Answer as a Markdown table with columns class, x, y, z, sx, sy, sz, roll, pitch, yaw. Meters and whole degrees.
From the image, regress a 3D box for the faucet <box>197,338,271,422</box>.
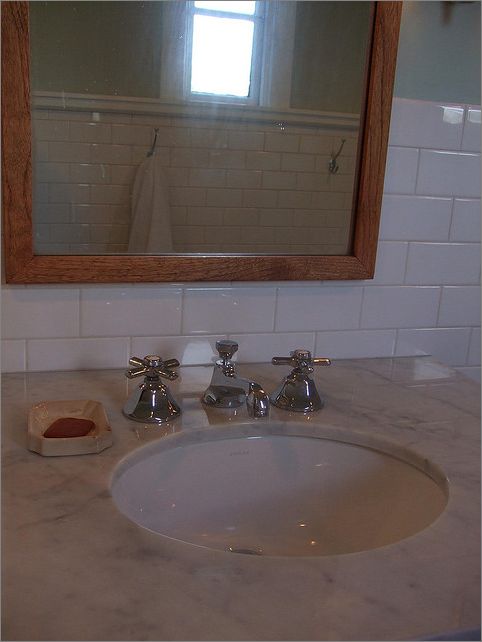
| class | x | y | z | sx | sy | sz | roll | pitch | yaw |
| --- | --- | --- | --- | --- | --- | --- | --- | --- | --- |
| faucet | 0.000 | 0.092 | 0.853 | 0.065 | 0.107 | 0.139 | -6 | 16 | -33 |
